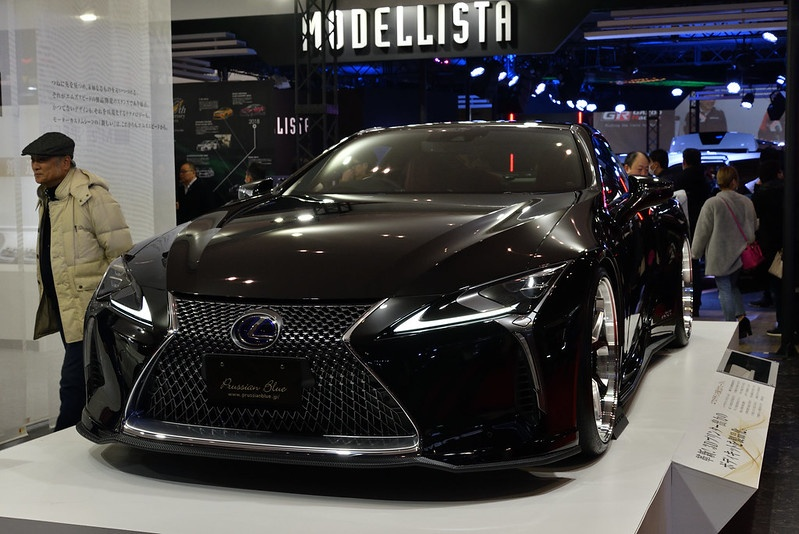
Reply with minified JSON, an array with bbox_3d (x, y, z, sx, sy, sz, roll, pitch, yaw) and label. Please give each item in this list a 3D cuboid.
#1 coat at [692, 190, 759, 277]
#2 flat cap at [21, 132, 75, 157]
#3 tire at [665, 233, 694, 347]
[{"bbox_3d":[4.306,-0.213,7.744,0.757,1.573,0.488,-3,-1,6],"label":"coat"},{"bbox_3d":[-2.352,-0.778,3.932,0.254,0.109,0.207,-2,5,-37],"label":"flat cap"},{"bbox_3d":[1.947,0.206,3.990,0.130,0.611,0.579,-4,8,11],"label":"tire"}]
